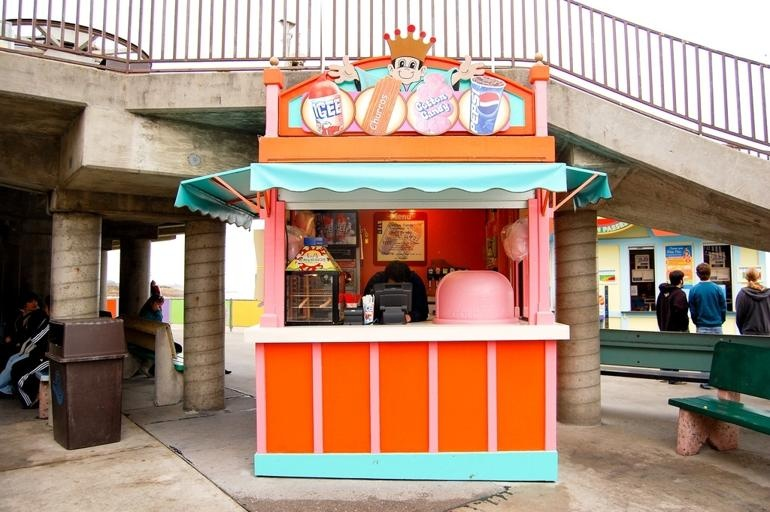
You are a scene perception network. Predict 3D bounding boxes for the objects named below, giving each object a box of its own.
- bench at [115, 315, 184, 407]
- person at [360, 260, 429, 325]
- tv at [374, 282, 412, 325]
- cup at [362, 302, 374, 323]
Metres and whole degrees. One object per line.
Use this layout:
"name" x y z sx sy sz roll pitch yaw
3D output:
"bench" -4.310 1.938 13.484 0.599 0.687 1.772 2 0 -34
"person" 0.200 0.457 11.053 1.007 0.846 0.894 1 17 6
"tv" 0.125 0.680 10.476 0.539 0.623 0.571 1 -16 -3
"cup" -0.201 0.742 10.331 0.151 0.365 0.163 -1 10 0
